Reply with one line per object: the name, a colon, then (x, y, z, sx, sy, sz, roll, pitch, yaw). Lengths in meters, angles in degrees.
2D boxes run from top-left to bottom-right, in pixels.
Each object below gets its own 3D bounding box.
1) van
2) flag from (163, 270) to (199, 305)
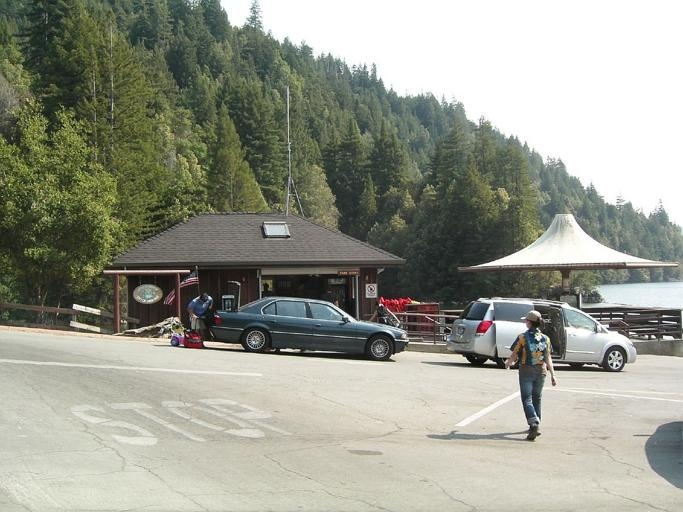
van: (6.201, 2.425, 25.668, 4.978, 1.934, 2.456, 0, 0, -11)
flag: (-6.483, 1.329, 33.492, 1.175, 1.643, 2.791, 1, 4, -9)
